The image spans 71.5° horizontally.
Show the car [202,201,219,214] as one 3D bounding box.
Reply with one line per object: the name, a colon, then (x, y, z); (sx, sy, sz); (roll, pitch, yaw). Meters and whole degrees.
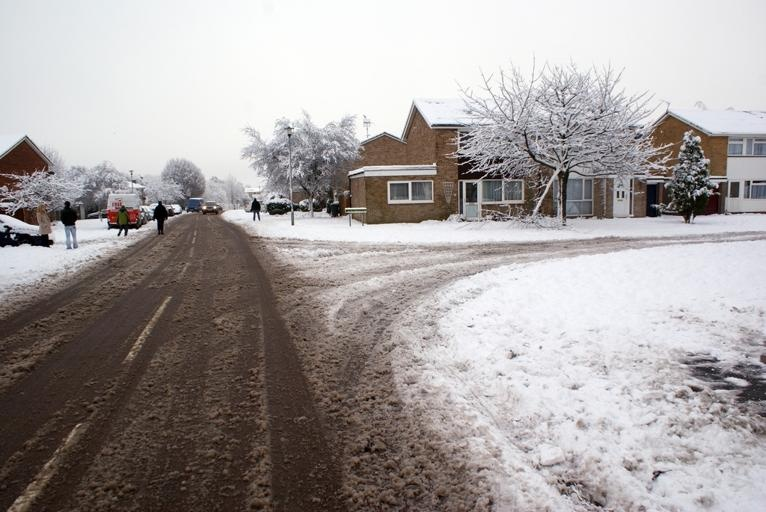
car: (-22.877, -6.366, 70.470); (1.305, 1.087, 2.267); (0, -2, -12)
